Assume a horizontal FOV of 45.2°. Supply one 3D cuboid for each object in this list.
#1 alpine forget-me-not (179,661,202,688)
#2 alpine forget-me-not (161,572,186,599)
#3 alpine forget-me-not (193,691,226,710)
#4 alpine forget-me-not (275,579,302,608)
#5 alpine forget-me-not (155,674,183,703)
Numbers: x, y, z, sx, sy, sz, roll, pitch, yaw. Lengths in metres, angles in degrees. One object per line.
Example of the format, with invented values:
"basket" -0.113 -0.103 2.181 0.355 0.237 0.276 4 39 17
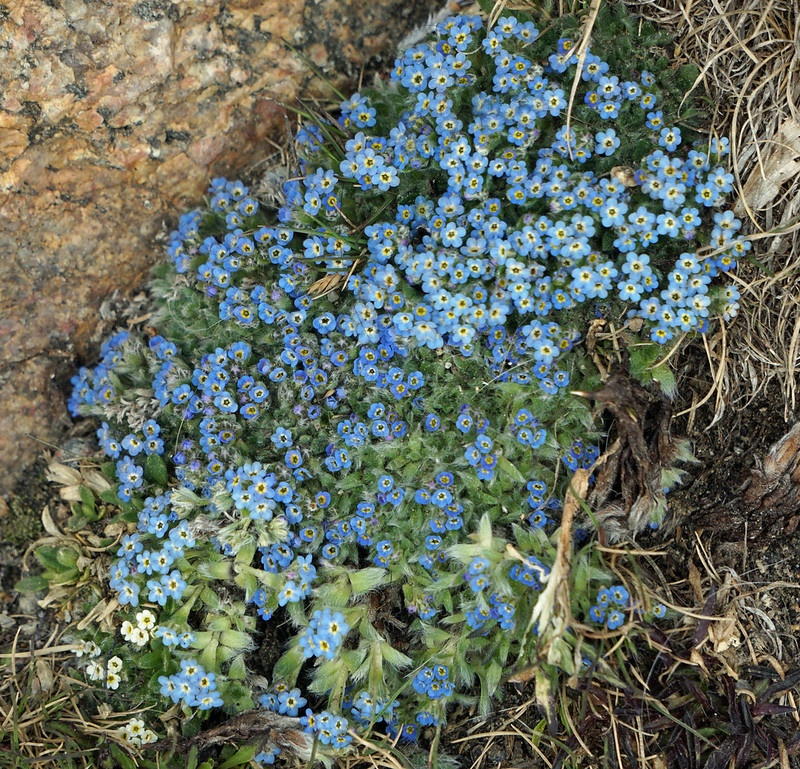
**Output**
"alpine forget-me-not" -1.007 1.397 4.659 0.133 0.081 0.087 25 83 10
"alpine forget-me-not" -1.100 0.997 4.758 0.102 0.154 0.128 -16 78 3
"alpine forget-me-not" -0.908 1.537 4.618 0.107 0.043 0.112 23 54 16
"alpine forget-me-not" -0.528 1.011 4.688 0.120 0.077 0.104 -18 78 3
"alpine forget-me-not" -1.111 1.446 4.618 0.122 0.038 0.139 -24 90 -3
